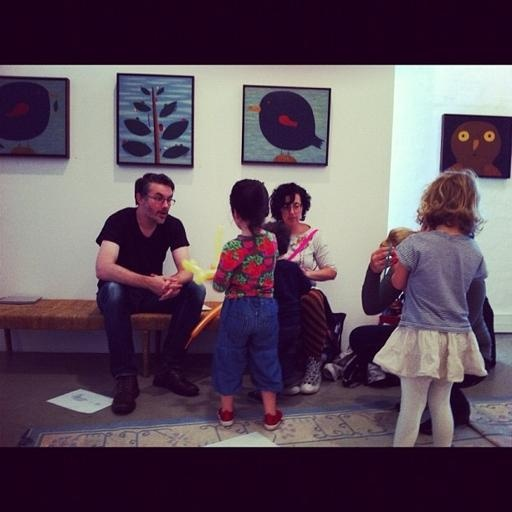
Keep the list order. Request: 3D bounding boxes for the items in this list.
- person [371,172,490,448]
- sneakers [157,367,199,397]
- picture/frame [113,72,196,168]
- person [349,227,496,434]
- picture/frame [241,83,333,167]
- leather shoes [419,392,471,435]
[{"bbox_3d":[0.795,0.245,2.102,0.417,1.214,0.405,8,13,33],"label":"person"},{"bbox_3d":[-0.466,0.732,2.808,0.286,0.126,0.109,11,7,21],"label":"sneakers"},{"bbox_3d":[-0.677,-0.933,3.193,0.542,0.677,0.022,0,1,-3],"label":"picture/frame"},{"bbox_3d":[0.842,0.412,2.956,0.488,0.946,0.719,19,-7,20],"label":"person"},{"bbox_3d":[0.193,-0.900,3.196,0.470,0.444,0.017,0,2,-3],"label":"picture/frame"},{"bbox_3d":[0.965,0.767,2.481,0.172,0.256,0.256,2,9,8],"label":"leather shoes"}]
